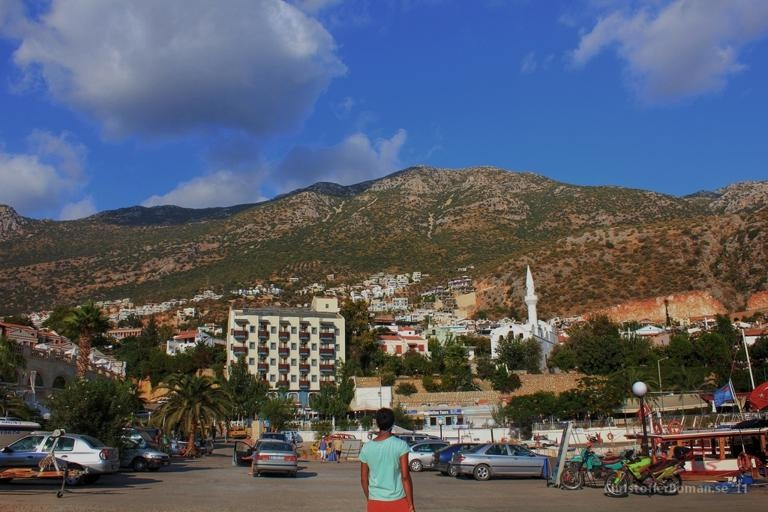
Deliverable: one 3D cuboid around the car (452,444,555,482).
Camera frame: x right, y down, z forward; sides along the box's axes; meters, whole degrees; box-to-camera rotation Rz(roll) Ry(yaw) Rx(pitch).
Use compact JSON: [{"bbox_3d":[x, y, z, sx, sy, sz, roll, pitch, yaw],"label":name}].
[{"bbox_3d":[11.447,20.923,94.529,8.868,2.723,3.855,-2,-8,-6],"label":"car"}]
